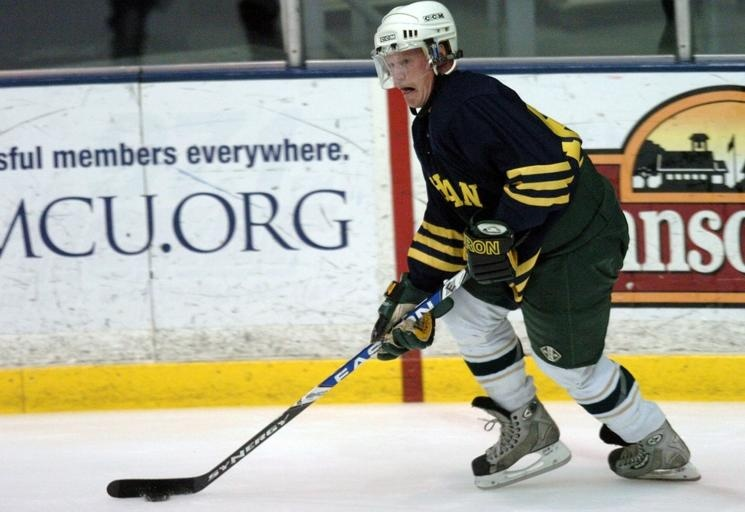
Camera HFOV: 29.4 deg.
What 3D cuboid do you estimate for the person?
[{"bbox_3d":[0.641,-0.056,6.382,1.346,2.221,0.385,-4,8,7],"label":"person"}]

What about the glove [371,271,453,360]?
[{"bbox_3d":[0.125,0.270,6.442,0.203,0.436,0.292,36,32,-28],"label":"glove"}]

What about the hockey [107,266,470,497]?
[{"bbox_3d":[-0.349,0.664,7.134,0.399,0.161,2.520,2,17,33],"label":"hockey"}]

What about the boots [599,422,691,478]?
[{"bbox_3d":[1.231,0.896,6.502,0.472,0.234,0.130,-1,-13,-18],"label":"boots"}]

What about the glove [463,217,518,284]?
[{"bbox_3d":[0.523,-0.033,6.270,0.354,0.270,0.251,-4,23,-1],"label":"glove"}]
